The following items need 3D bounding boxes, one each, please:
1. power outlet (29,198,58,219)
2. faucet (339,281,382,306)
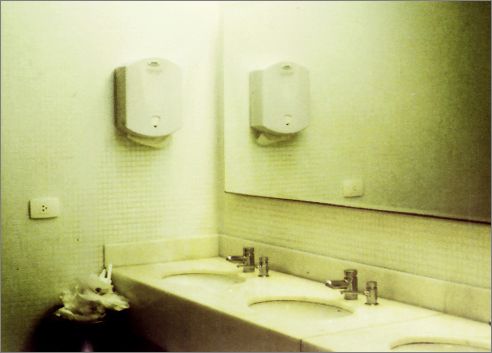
[{"bbox_3d":[-1.100,0.172,2.623,0.164,0.105,0.037,-4,6,-29],"label":"power outlet"},{"bbox_3d":[0.479,0.495,2.068,0.080,0.101,0.182,2,-2,-45],"label":"faucet"}]
